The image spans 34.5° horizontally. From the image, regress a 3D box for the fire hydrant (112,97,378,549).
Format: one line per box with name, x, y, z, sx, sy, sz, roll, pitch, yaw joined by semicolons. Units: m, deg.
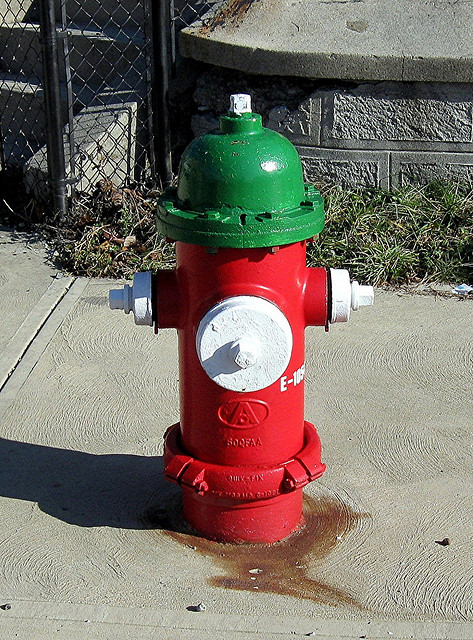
fire hydrant;0.016;0.049;2.135;0.560;1.295;0.420;8;19;35
